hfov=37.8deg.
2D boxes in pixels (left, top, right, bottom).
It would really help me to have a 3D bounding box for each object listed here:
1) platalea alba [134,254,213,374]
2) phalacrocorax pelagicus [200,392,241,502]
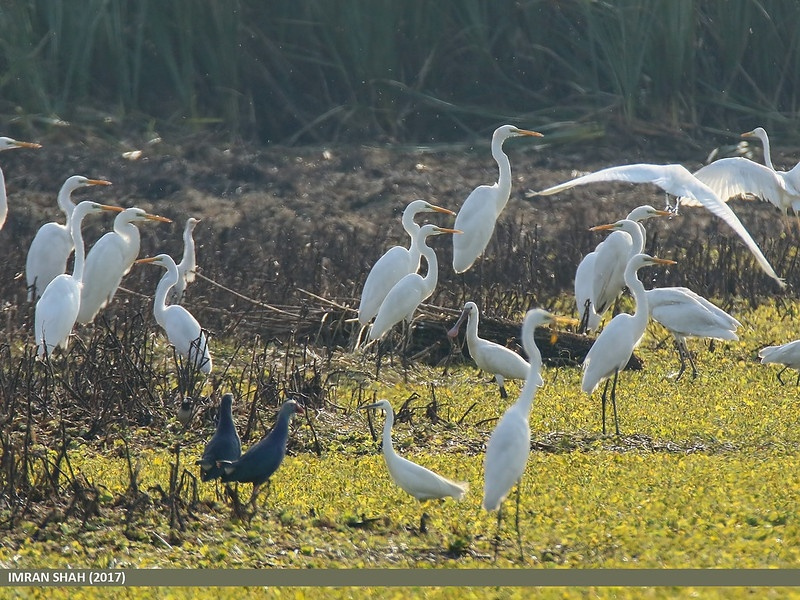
[{"bbox_3d":[-3.149,0.413,17.582,1.226,1.906,1.173,-11,19,-34],"label":"platalea alba"},{"bbox_3d":[-2.114,1.621,13.675,0.389,1.019,0.807,0,3,18],"label":"phalacrocorax pelagicus"}]
